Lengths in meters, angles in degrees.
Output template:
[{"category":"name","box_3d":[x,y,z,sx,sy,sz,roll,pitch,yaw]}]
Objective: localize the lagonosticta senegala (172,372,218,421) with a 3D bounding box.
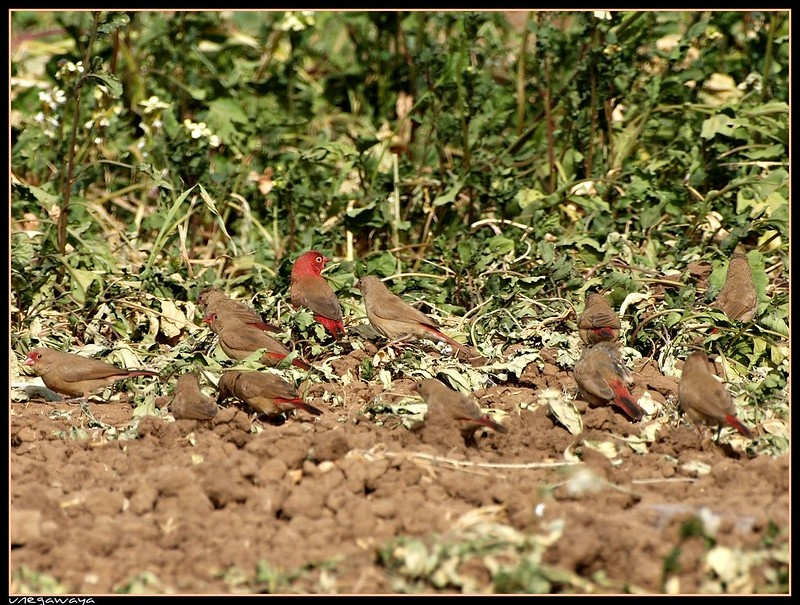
[{"category":"lagonosticta senegala","box_3d":[-1.335,0.649,4.796,0.251,0.212,0.437,-9,32,-25]}]

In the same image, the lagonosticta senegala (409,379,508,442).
[{"category":"lagonosticta senegala","box_3d":[0.384,0.666,4.681,0.692,0.374,0.240,0,3,19]}]

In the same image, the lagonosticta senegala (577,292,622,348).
[{"category":"lagonosticta senegala","box_3d":[1.514,0.139,5.649,0.331,0.439,0.541,-1,3,11]}]

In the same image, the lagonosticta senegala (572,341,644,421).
[{"category":"lagonosticta senegala","box_3d":[1.425,0.460,5.151,0.370,0.621,0.664,-13,-3,-2]}]

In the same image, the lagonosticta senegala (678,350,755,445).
[{"category":"lagonosticta senegala","box_3d":[2.027,0.625,4.784,0.264,0.489,0.685,0,9,-17]}]

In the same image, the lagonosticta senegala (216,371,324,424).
[{"category":"lagonosticta senegala","box_3d":[-0.875,0.598,4.821,0.836,0.325,0.263,3,-1,23]}]

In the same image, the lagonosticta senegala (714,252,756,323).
[{"category":"lagonosticta senegala","box_3d":[2.655,-0.098,5.785,0.287,0.340,0.589,18,31,20]}]

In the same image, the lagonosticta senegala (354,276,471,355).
[{"category":"lagonosticta senegala","box_3d":[-0.019,0.098,5.787,1.077,0.593,0.386,8,7,20]}]

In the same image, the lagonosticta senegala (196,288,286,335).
[{"category":"lagonosticta senegala","box_3d":[-1.390,0.070,5.926,0.862,0.405,0.285,4,4,22]}]
